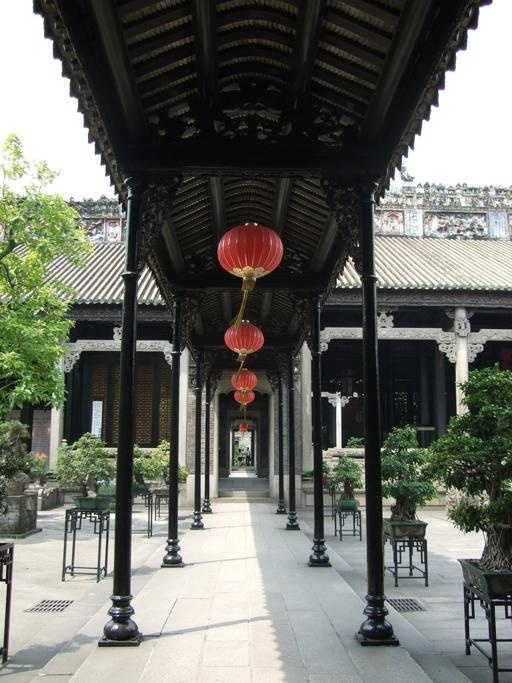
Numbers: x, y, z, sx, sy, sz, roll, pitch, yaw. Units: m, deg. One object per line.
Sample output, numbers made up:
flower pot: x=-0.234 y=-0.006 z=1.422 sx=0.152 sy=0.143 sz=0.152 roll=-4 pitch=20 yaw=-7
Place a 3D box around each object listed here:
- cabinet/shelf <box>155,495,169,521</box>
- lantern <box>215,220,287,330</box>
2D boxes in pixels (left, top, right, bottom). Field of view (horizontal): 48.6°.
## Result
cabinet/shelf: x=-1.888 y=3.225 z=11.395 sx=0.201 sy=0.523 sz=3.077 roll=0 pitch=-10 yaw=-8
lantern: x=-0.047 y=-0.585 z=3.973 sx=0.445 sy=0.517 sz=0.335 roll=-3 pitch=-10 yaw=8
